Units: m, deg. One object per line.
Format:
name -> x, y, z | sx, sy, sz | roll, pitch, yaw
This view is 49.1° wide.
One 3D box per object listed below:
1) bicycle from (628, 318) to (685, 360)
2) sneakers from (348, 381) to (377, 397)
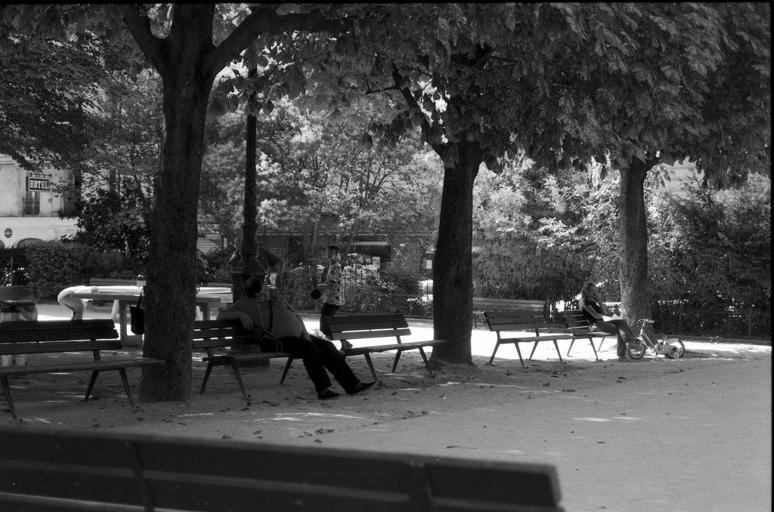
bicycle -> 6.323, 1.969, 20.065 | 1.640, 1.067, 0.843 | 1, -9, 5
sneakers -> -0.413, 2.142, 13.777 | 0.496, 0.209, 0.171 | -14, 6, -30
